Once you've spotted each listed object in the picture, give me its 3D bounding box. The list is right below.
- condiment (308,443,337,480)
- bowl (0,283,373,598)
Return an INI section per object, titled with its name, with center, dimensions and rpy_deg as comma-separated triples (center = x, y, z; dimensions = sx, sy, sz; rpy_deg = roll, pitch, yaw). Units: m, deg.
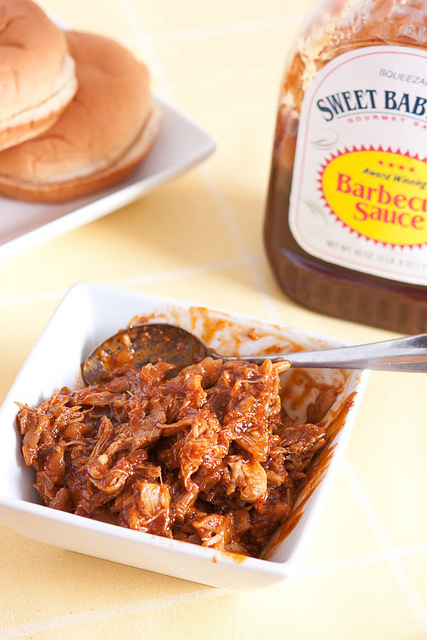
[condiment]
center = 0.140, 0.167, 0.734
dimensions = 0.016, 0.009, 0.063
rpy_deg = 27, 69, 34
[bowl]
center = -0.071, 0.193, 0.784
dimensions = 0.470, 0.143, 0.426
rpy_deg = 13, 48, 9
